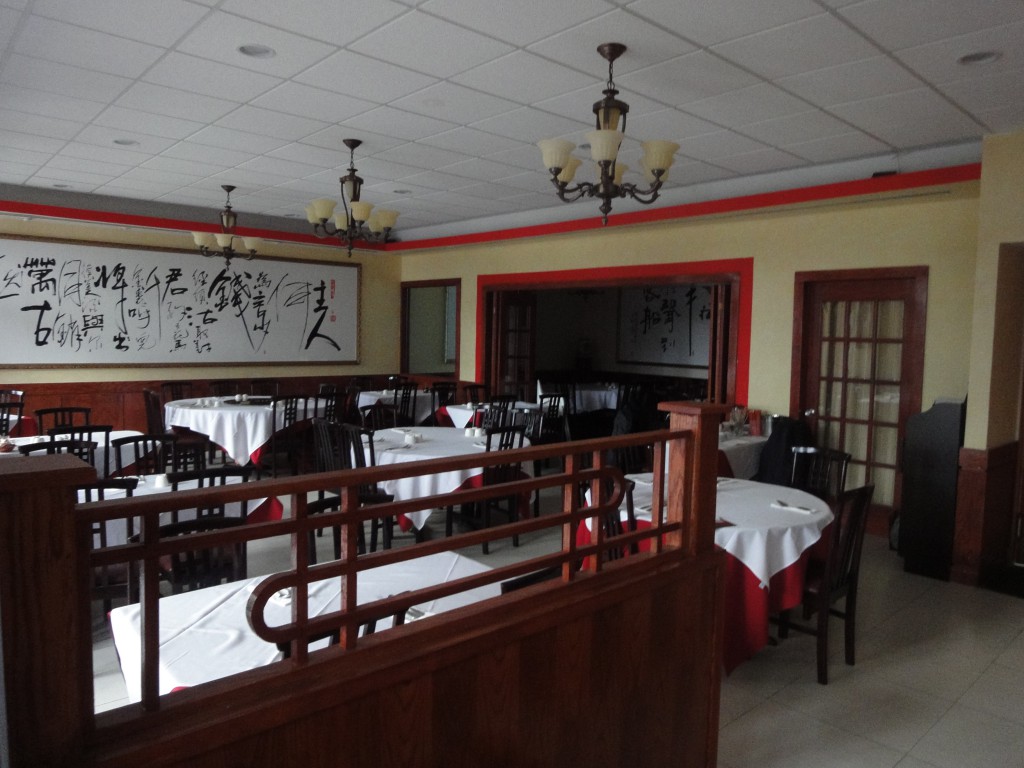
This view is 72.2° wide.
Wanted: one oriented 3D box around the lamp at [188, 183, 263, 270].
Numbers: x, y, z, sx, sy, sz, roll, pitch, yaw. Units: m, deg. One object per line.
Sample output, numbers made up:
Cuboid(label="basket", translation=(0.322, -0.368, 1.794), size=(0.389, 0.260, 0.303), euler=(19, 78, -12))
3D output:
Cuboid(label="lamp", translation=(-2.762, -1.561, 6.832), size=(0.624, 0.775, 0.796), euler=(2, 4, -22))

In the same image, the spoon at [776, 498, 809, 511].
Cuboid(label="spoon", translation=(1.411, 0.610, 3.540), size=(0.048, 0.030, 0.179), euler=(-5, 3, -35))

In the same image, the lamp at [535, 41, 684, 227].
Cuboid(label="lamp", translation=(0.525, -1.360, 3.793), size=(0.812, 0.879, 0.774), euler=(-2, 8, -29))

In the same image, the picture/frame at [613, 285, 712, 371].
Cuboid(label="picture/frame", translation=(2.272, -0.874, 10.402), size=(0.056, 1.263, 1.846), euler=(-3, 6, -37))

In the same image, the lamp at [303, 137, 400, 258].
Cuboid(label="lamp", translation=(-1.227, -1.461, 5.393), size=(0.651, 0.826, 0.696), euler=(0, 4, -27))
